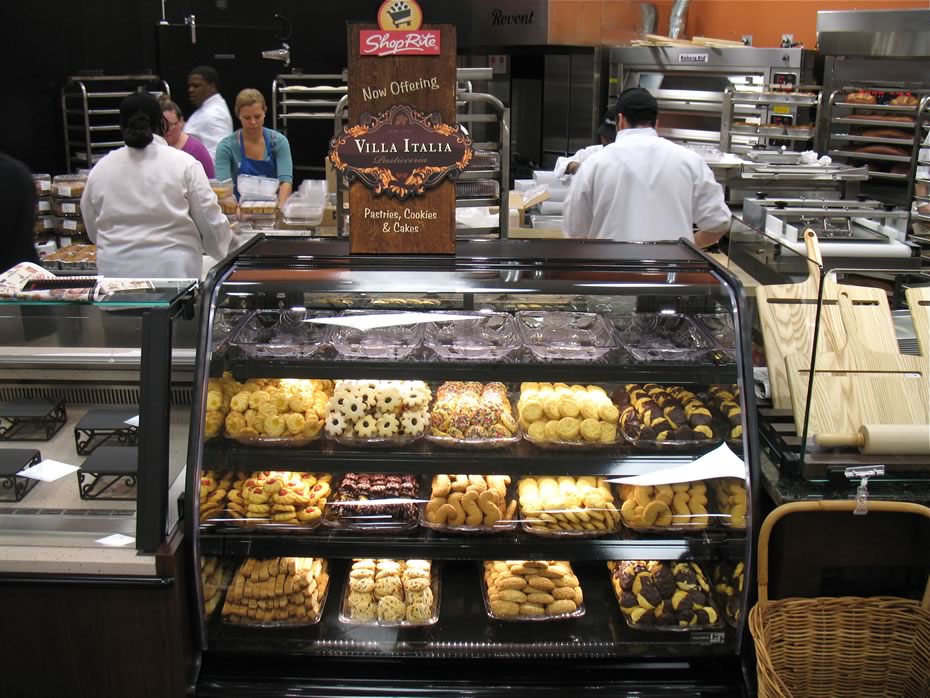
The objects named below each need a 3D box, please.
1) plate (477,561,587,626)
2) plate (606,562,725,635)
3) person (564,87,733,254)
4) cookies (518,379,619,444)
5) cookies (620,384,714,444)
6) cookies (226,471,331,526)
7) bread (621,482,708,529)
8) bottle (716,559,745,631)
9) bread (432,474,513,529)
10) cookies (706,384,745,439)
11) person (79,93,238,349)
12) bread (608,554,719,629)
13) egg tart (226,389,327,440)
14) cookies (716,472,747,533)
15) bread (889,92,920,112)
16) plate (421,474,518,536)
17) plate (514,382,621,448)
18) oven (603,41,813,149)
[{"bbox_3d":[0.270,0.869,2.732,0.299,0.101,0.356,-8,-5,19],"label":"plate"},{"bbox_3d":[0.671,0.820,2.640,0.357,0.115,0.404,0,18,2],"label":"plate"},{"bbox_3d":[0.953,-0.902,4.069,0.792,0.833,0.484,-14,23,-27],"label":"person"},{"bbox_3d":[0.340,0.198,2.559,0.259,0.074,0.224,1,45,-3],"label":"cookies"},{"bbox_3d":[0.658,0.217,2.574,0.221,0.063,0.215,1,30,4],"label":"cookies"},{"bbox_3d":[-0.601,0.477,2.561,0.228,0.066,0.220,1,21,-6],"label":"cookies"},{"bbox_3d":[0.643,0.500,2.526,0.219,0.147,0.085,0,14,2],"label":"bread"},{"bbox_3d":[0.845,0.766,2.498,0.061,0.177,0.140,-4,-3,-15],"label":"bottle"},{"bbox_3d":[0.019,0.497,2.588,0.212,0.067,0.195,-1,15,-5],"label":"bread"},{"bbox_3d":[0.816,0.192,2.447,0.046,0.165,0.057,-5,2,34],"label":"cookies"},{"bbox_3d":[-1.729,-0.602,4.455,0.761,1.582,0.575,10,25,-5],"label":"person"},{"bbox_3d":[0.662,0.790,2.572,0.233,0.079,0.274,1,11,3],"label":"bread"},{"bbox_3d":[-0.609,0.212,2.545,0.212,0.061,0.193,-3,33,-8],"label":"egg tart"},{"bbox_3d":[0.832,0.476,2.444,0.054,0.135,0.139,-4,5,-31],"label":"cookies"},{"bbox_3d":[3.582,-2.010,6.409,0.136,0.135,0.305,-11,22,-22],"label":"bread"},{"bbox_3d":[0.009,0.493,2.651,0.321,0.105,0.327,0,27,5],"label":"plate"},{"bbox_3d":[0.341,0.213,2.580,0.262,0.076,0.228,0,42,-2],"label":"plate"},{"bbox_3d":[2.212,-2.273,7.743,1.491,1.195,0.528,12,11,30],"label":"oven"}]
